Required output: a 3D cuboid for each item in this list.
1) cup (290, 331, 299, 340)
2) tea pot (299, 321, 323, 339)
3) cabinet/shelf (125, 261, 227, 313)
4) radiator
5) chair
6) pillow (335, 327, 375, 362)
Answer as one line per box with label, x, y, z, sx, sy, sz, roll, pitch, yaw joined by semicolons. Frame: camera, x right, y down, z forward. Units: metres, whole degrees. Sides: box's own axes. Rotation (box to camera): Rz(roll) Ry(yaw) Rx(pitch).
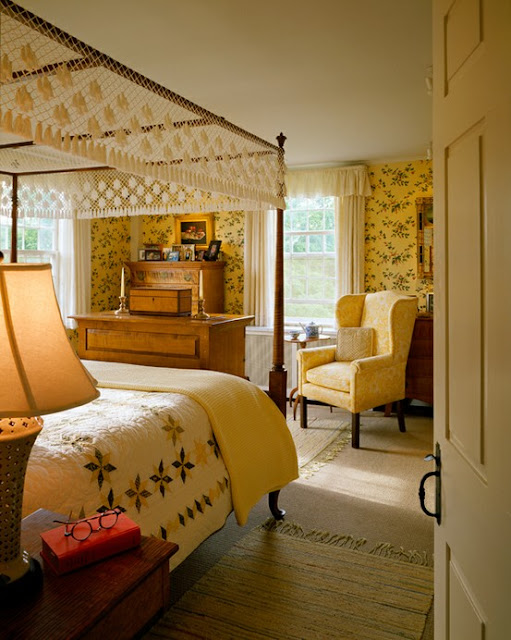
cup;0.418;0.167;5.239;0.077;0.062;0.075;-1;4;0
tea pot;0.613;0.125;5.413;0.230;0.171;0.150;2;3;2
cabinet/shelf;-0.997;-0.344;6.240;0.934;0.861;0.586;4;15;13
radiator;0.188;0.488;6.465;0.865;0.766;0.201;2;7;27
chair;1.000;0.398;4.843;1.158;1.281;1.109;-3;6;-3
pillow;1.011;0.247;4.935;0.353;0.339;0.123;1;-11;27
